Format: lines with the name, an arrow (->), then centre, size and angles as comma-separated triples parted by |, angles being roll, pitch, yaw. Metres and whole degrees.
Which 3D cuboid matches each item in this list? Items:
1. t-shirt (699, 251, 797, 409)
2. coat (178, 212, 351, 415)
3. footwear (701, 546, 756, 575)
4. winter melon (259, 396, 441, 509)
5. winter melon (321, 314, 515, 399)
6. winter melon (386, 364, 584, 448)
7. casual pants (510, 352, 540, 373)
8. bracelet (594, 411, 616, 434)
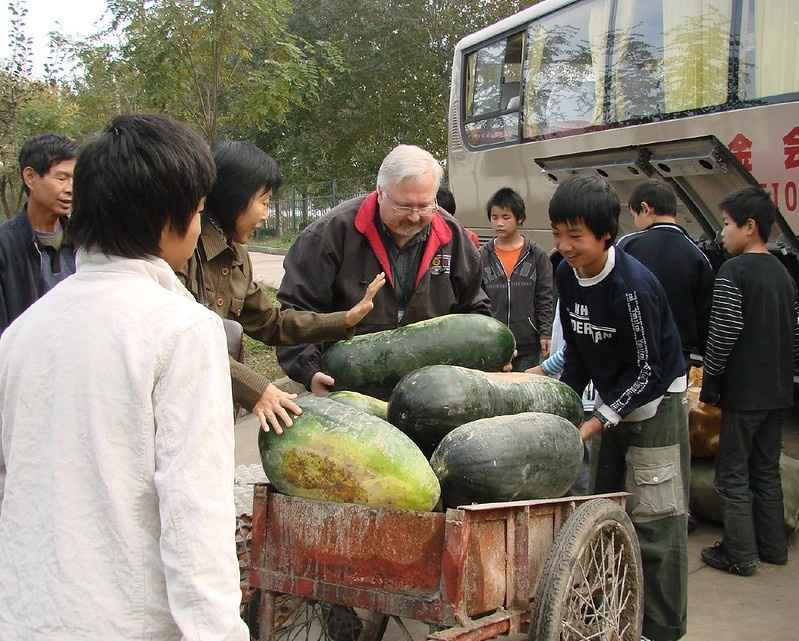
t-shirt -> 2.535, 0.083, 4.534 | 0.652, 1.121, 0.210 | -1, 5, 1
coat -> -0.651, -0.010, 3.138 | 0.882, 0.318, 0.657 | 32, 16, 32
footwear -> 2.292, 1.697, 4.475 | 0.119, 0.245, 0.332 | -5, -5, -28
winter melon -> -0.202, 0.528, 2.566 | 0.677, 0.401, 0.375 | 19, 50, 15
winter melon -> 0.108, 0.095, 3.544 | 0.967, 0.456, 0.447 | -10, 16, -13
winter melon -> 0.463, 0.368, 3.202 | 1.065, 0.379, 0.381 | -6, -24, -46
casual pants -> 1.123, 0.375, 5.725 | 0.268, 0.225, 0.156 | -1, 14, -22
bracelet -> 1.095, 0.517, 3.348 | 0.132, 0.095, 0.047 | 1, 5, 15
